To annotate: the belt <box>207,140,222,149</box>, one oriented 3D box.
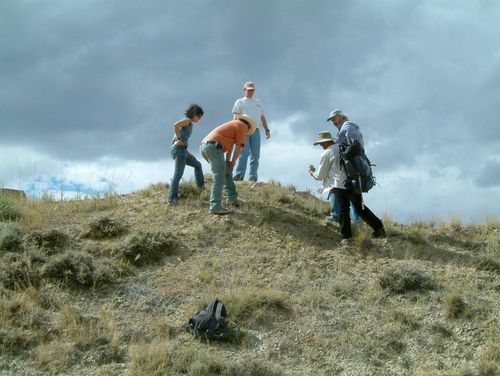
[{"bbox_3d":[-0.796,-1.003,12.352,0.205,0.062,0.194,27,7,-41],"label":"belt"}]
